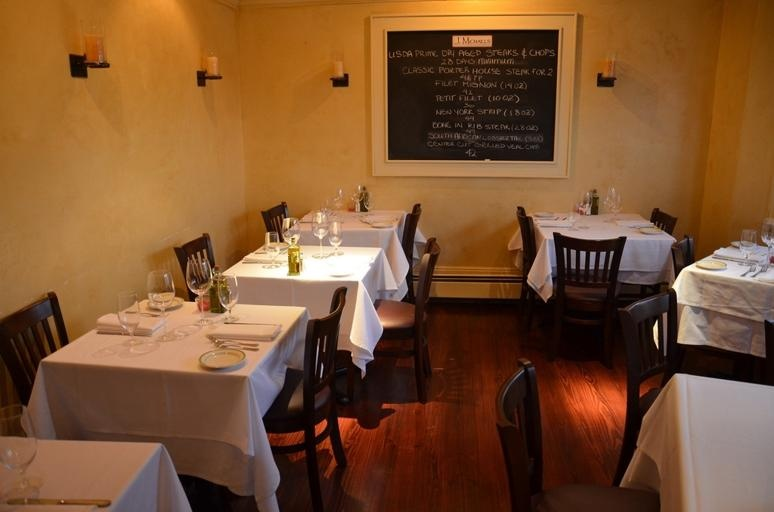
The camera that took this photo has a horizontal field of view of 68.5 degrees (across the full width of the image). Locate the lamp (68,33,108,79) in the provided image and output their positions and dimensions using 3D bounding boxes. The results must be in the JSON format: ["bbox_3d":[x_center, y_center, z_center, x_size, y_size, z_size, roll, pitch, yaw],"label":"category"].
[{"bbox_3d":[-2.015,-1.413,3.940,0.146,0.226,0.190,-3,-7,-39],"label":"lamp"}]

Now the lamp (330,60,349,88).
[{"bbox_3d":[-0.489,-1.877,5.863,0.187,0.286,0.209,1,32,0],"label":"lamp"}]

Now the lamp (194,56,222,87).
[{"bbox_3d":[-1.669,-1.729,5.335,0.213,0.271,0.344,-5,20,-10],"label":"lamp"}]

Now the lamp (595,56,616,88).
[{"bbox_3d":[2.172,-1.801,5.650,0.201,0.263,0.118,3,20,15],"label":"lamp"}]

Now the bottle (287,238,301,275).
[{"bbox_3d":[-0.687,0.019,4.029,0.092,0.229,0.090,3,0,0],"label":"bottle"}]

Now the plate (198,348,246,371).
[{"bbox_3d":[-0.861,0.543,2.992,0.234,0.043,0.183,-3,20,-4],"label":"plate"}]

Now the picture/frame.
[{"bbox_3d":[0.923,-1.718,5.804,1.507,1.352,0.057,0,10,3],"label":"picture/frame"}]

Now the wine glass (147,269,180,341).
[{"bbox_3d":[-1.305,0.257,3.296,0.139,0.366,0.139,4,23,-2],"label":"wine glass"}]
